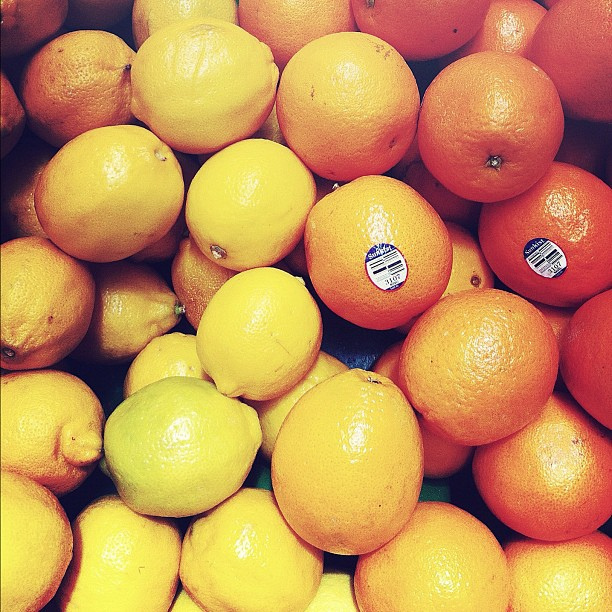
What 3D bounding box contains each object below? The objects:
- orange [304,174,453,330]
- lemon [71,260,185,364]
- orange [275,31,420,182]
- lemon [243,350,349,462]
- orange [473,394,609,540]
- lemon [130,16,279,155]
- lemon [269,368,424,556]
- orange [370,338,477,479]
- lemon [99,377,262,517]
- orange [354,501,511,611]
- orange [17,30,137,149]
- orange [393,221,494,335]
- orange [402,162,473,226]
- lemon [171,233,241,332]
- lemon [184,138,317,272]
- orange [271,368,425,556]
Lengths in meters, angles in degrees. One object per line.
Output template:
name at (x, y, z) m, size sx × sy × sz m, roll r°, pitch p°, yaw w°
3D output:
orange at (0.101, -0.082, 0.981) m, size 0.195 × 0.089 × 0.191 m, roll -14°, pitch 74°, yaw -5°
lemon at (-0.286, -0.001, 1.164) m, size 0.166 × 0.143 × 0.175 m, roll 13°, pitch 110°, yaw 35°
orange at (0.053, -0.279, 0.975) m, size 0.164 × 0.188 × 0.237 m, roll -4°, pitch 101°, yaw 1°
lemon at (-0.005, 0.139, 1.070) m, size 0.125 × 0.185 × 0.167 m, roll -9°, pitch 116°, yaw 12°
orange at (0.332, 0.228, 1.047) m, size 0.142 × 0.167 × 0.198 m, roll -2°, pitch 66°, yaw -21°
lemon at (-0.154, -0.324, 1.056) m, size 0.178 × 0.158 × 0.182 m, roll -28°, pitch 117°, yaw 0°
lemon at (0.083, 0.211, 0.976) m, size 0.161 × 0.199 × 0.261 m, roll 11°, pitch 117°, yaw 18°
orange at (0.170, 0.191, 1.110) m, size 0.157 × 0.187 × 0.257 m, roll -6°, pitch 76°, yaw -10°
lemon at (-0.173, 0.186, 0.954) m, size 0.217 × 0.078 × 0.185 m, roll -7°, pitch 74°, yaw -3°
orange at (0.171, 0.293, 0.913) m, size 0.132 × 0.152 × 0.173 m, roll 4°, pitch 78°, yaw -2°
orange at (-0.329, -0.330, 1.105) m, size 0.161 × 0.162 × 0.183 m, roll 6°, pitch 64°, yaw 16°
orange at (0.220, -0.056, 1.178) m, size 0.141 × 0.155 × 0.198 m, roll -27°, pitch 88°, yaw 14°
orange at (0.203, -0.171, 1.111) m, size 0.077 × 0.089 × 0.127 m, roll 1°, pitch 89°, yaw -18°
lemon at (-0.160, -0.050, 1.145) m, size 0.079 × 0.096 × 0.169 m, roll -19°, pitch 80°, yaw 5°
lemon at (-0.090, -0.157, 1.054) m, size 0.183 × 0.181 × 0.203 m, roll -1°, pitch 80°, yaw 2°
orange at (0.032, 0.218, 0.981) m, size 0.163 × 0.187 × 0.272 m, roll 2°, pitch 96°, yaw 16°
